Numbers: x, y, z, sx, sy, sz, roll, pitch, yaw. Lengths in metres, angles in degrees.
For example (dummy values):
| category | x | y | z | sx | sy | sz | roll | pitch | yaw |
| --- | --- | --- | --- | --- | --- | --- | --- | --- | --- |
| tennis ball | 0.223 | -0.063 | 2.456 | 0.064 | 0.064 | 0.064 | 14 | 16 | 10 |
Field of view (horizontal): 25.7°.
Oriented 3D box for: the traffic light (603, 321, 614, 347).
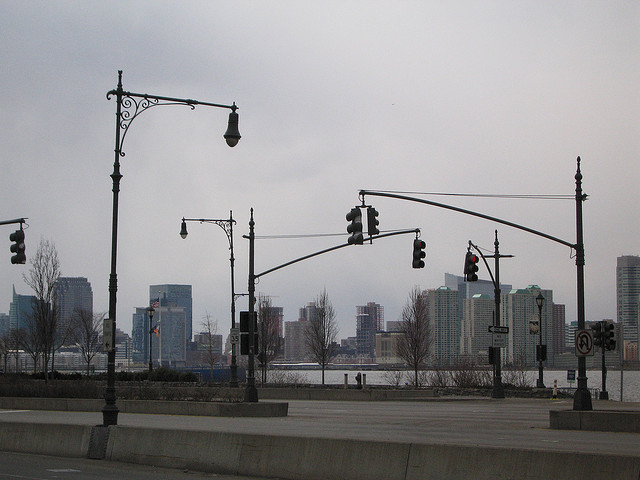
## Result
| category | x | y | z | sx | sy | sz | roll | pitch | yaw |
| --- | --- | --- | --- | --- | --- | --- | --- | --- | --- |
| traffic light | 15.237 | 4.955 | 75.109 | 0.526 | 1.387 | 1.607 | -2 | -10 | 11 |

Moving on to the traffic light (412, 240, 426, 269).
| category | x | y | z | sx | sy | sz | roll | pitch | yaw |
| --- | --- | --- | --- | --- | --- | --- | --- | --- | --- |
| traffic light | 5.064 | 0.666 | 72.967 | 0.554 | 1.481 | 0.377 | 1 | -9 | -5 |

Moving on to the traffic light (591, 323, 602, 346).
| category | x | y | z | sx | sy | sz | roll | pitch | yaw |
| --- | --- | --- | --- | --- | --- | --- | --- | --- | --- |
| traffic light | 14.138 | 4.771 | 72.901 | 0.428 | 1.157 | 2.108 | -2 | -11 | 12 |
